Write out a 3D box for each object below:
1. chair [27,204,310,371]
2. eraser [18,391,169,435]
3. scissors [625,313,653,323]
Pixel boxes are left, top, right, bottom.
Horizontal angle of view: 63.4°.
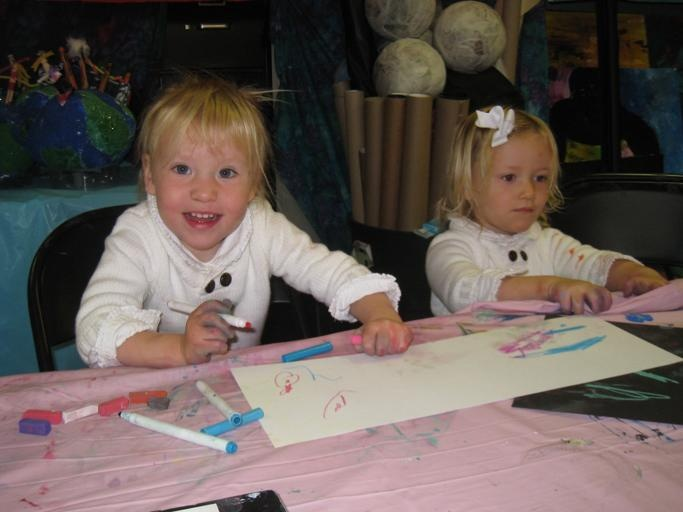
[{"bbox_3d":[-0.443,0.050,1.484,0.647,0.437,0.637,-2,15,-30],"label":"chair"},{"bbox_3d":[-0.348,0.218,0.801,0.206,0.025,0.069,-3,11,-12],"label":"eraser"},{"bbox_3d":[0.565,0.116,1.039,0.026,0.006,0.024,-4,10,-7],"label":"scissors"}]
